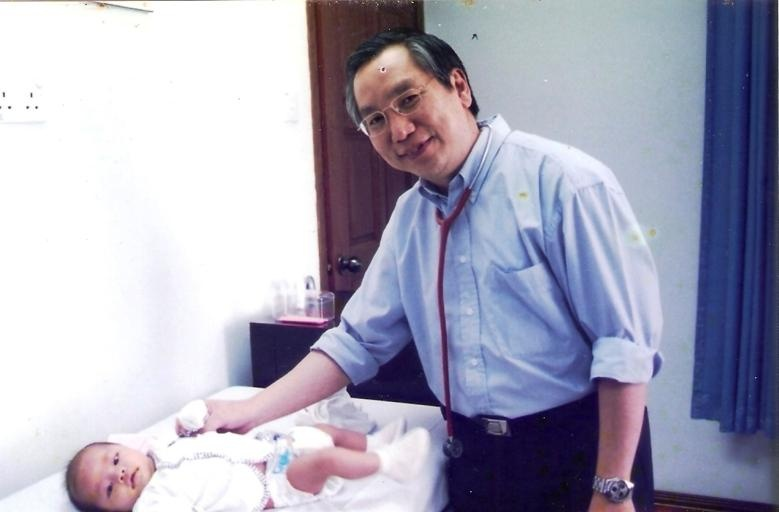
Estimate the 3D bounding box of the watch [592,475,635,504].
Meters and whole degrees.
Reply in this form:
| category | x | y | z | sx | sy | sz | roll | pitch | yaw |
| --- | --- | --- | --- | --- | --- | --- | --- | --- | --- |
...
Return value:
| category | x | y | z | sx | sy | sz | roll | pitch | yaw |
| --- | --- | --- | --- | --- | --- | --- | --- | --- | --- |
| watch | 0.563 | 0.587 | 1.741 | 0.087 | 0.055 | 0.091 | 11 | 6 | 8 |

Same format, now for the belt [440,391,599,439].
| category | x | y | z | sx | sy | sz | roll | pitch | yaw |
| --- | --- | --- | --- | --- | --- | --- | --- | --- | --- |
| belt | 0.350 | 0.436 | 1.841 | 0.393 | 0.142 | 0.069 | 0 | 11 | 10 |
